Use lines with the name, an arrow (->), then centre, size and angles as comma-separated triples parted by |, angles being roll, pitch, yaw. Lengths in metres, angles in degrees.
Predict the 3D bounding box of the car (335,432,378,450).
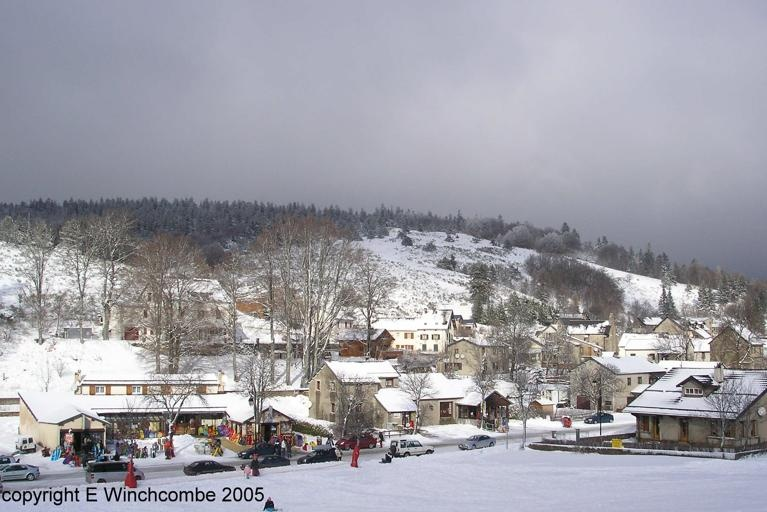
car -> -3.126, 22.141, 128.708 | 3.361, 1.426, 2.039 | 3, -7, -8

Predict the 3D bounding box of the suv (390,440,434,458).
suv -> 2.998, 22.342, 125.018 | 4.174, 1.822, 2.135 | -3, 2, -26

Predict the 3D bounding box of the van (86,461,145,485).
van -> -28.437, 23.038, 112.258 | 4.544, 2.218, 2.758 | -1, -2, -16

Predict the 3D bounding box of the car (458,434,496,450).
car -> 11.064, 22.207, 128.485 | 3.961, 1.402, 1.691 | 8, -12, -42

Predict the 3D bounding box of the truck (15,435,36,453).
truck -> -41.509, 21.840, 124.586 | 1.320, 1.392, 2.374 | 0, 7, -25
